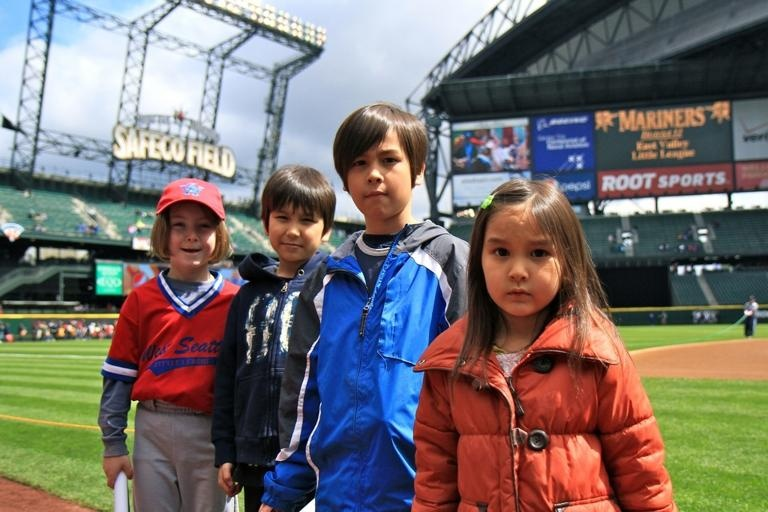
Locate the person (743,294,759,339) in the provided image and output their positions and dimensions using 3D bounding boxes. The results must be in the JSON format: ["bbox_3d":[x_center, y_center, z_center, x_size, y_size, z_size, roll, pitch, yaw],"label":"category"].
[{"bbox_3d":[11.539,1.938,20.599,0.329,1.137,2.576,1,5,28],"label":"person"}]
